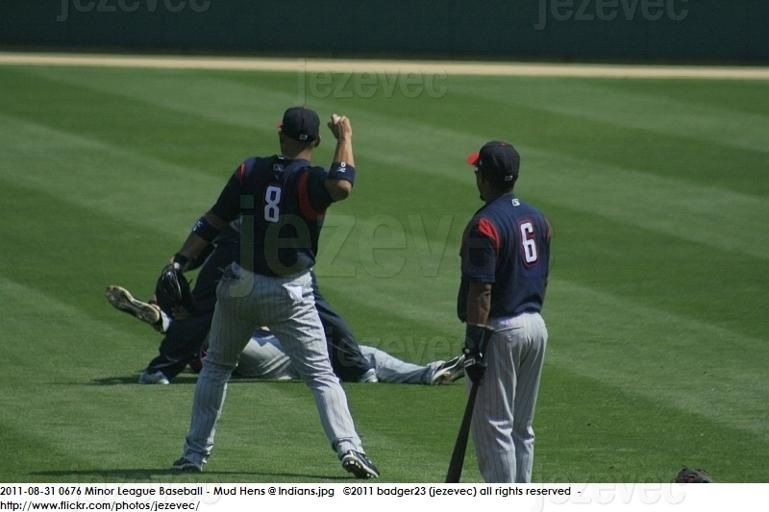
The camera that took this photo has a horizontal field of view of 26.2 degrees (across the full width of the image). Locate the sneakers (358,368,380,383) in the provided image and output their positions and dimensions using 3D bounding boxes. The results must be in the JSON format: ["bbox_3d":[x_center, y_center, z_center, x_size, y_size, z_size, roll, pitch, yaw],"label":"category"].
[{"bbox_3d":[-0.212,1.577,22.151,0.293,0.297,0.176,-5,17,-12],"label":"sneakers"}]

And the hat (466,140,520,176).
[{"bbox_3d":[1.309,-1.157,19.994,0.411,0.315,0.564,-12,34,-31],"label":"hat"}]

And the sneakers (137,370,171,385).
[{"bbox_3d":[-3.096,1.615,22.005,0.372,0.150,0.177,1,1,6],"label":"sneakers"}]
